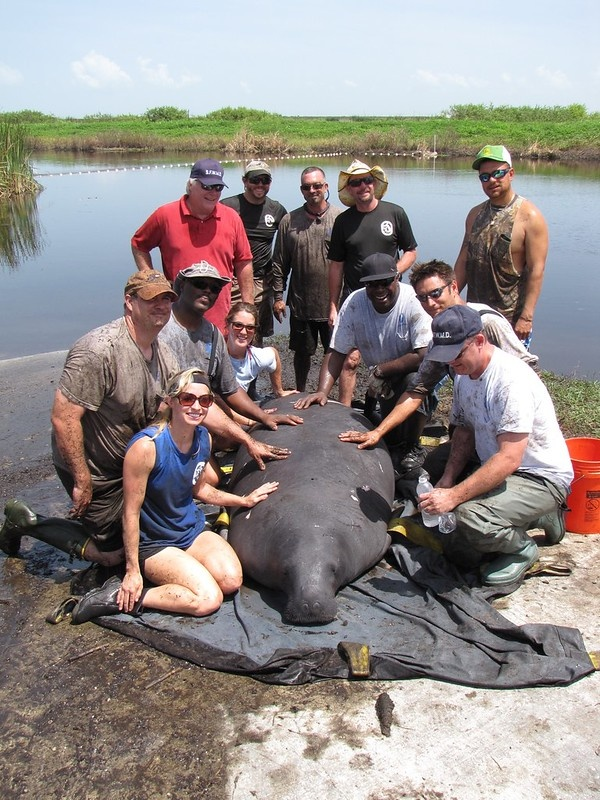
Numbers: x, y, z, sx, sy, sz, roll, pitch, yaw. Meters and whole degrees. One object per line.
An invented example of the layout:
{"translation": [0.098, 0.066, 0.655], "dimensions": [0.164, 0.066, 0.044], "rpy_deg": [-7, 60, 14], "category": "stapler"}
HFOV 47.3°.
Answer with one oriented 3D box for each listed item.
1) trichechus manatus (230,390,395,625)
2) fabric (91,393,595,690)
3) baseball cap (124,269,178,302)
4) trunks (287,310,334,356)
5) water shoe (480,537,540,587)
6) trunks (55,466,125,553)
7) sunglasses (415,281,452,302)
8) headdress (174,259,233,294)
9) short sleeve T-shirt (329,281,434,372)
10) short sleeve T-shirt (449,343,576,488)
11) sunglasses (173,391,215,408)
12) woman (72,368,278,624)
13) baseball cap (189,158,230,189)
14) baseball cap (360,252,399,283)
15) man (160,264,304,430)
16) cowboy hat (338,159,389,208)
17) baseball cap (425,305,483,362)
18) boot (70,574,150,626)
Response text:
{"translation": [0.118, 0.675, 4.954], "dimensions": [1.191, 0.770, 2.201], "rpy_deg": [0, 25, 3], "category": "trichechus manatus"}
{"translation": [0.187, 0.906, 4.034], "dimensions": [2.023, 0.777, 2.491], "rpy_deg": [-10, 19, -30], "category": "fabric"}
{"translation": [-0.899, -0.693, 4.157], "dimensions": [0.259, 0.166, 0.271], "rpy_deg": [-14, 22, -37], "category": "baseball cap"}
{"translation": [0.068, -0.748, 7.930], "dimensions": [0.647, 0.716, 0.450], "rpy_deg": [-1, 13, -7], "category": "trunks"}
{"translation": [1.324, 1.018, 4.374], "dimensions": [0.423, 0.173, 0.196], "rpy_deg": [-14, 13, -42], "category": "water shoe"}
{"translation": [-1.287, 0.698, 4.414], "dimensions": [0.410, 0.579, 0.182], "rpy_deg": [-8, 18, -11], "category": "trunks"}
{"translation": [0.994, -0.796, 5.168], "dimensions": [0.180, 0.051, 0.178], "rpy_deg": [-16, 12, 43], "category": "sunglasses"}
{"translation": [-0.705, -0.875, 4.866], "dimensions": [0.294, 0.151, 0.355], "rpy_deg": [6, -7, -15], "category": "headdress"}
{"translation": [0.691, -0.590, 5.681], "dimensions": [1.074, 0.789, 0.500], "rpy_deg": [0, 44, 19], "category": "short sleeve T-shirt"}
{"translation": [1.304, 0.140, 4.382], "dimensions": [0.568, 0.866, 0.921], "rpy_deg": [-22, 21, -9], "category": "short sleeve T-shirt"}
{"translation": [-0.590, 0.004, 3.942], "dimensions": [0.074, 0.116, 0.222], "rpy_deg": [15, 22, 38], "category": "sunglasses"}
{"translation": [-0.814, 0.641, 4.249], "dimensions": [0.857, 1.324, 1.354], "rpy_deg": [13, 17, 29], "category": "woman"}
{"translation": [-0.795, -1.939, 5.855], "dimensions": [0.247, 0.175, 0.344], "rpy_deg": [-4, 24, -37], "category": "baseball cap"}
{"translation": [0.621, -1.038, 5.358], "dimensions": [0.223, 0.153, 0.285], "rpy_deg": [-5, 15, 20], "category": "baseball cap"}
{"translation": [-0.499, -0.317, 6.106], "dimensions": [1.332, 1.033, 0.767], "rpy_deg": [-10, 22, -34], "category": "man"}
{"translation": [0.618, -2.149, 6.797], "dimensions": [0.464, 0.549, 0.199], "rpy_deg": [-15, 50, -7], "category": "cowboy hat"}
{"translation": [0.873, -0.364, 4.076], "dimensions": [0.382, 0.205, 0.247], "rpy_deg": [-43, 27, -27], "category": "baseball cap"}
{"translation": [-1.153, 1.211, 4.053], "dimensions": [0.203, 0.174, 0.329], "rpy_deg": [14, 22, 37], "category": "boot"}
